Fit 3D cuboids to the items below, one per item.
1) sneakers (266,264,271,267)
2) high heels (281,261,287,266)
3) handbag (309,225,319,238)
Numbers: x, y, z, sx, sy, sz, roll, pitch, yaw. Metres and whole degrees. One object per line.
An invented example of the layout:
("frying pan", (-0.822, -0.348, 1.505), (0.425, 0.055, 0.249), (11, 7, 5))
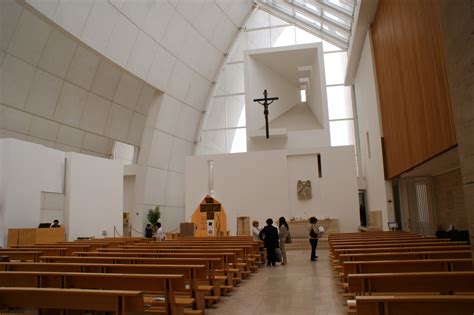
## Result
("sneakers", (0.965, 3.236, 9.869), (0.127, 0.056, 0.330), (-4, -13, 4))
("high heels", (1.466, 3.265, 10.138), (0.067, 0.117, 0.210), (-12, -22, 33))
("handbag", (2.526, 2.410, 10.728), (0.314, 0.532, 0.518), (-1, 4, 12))
